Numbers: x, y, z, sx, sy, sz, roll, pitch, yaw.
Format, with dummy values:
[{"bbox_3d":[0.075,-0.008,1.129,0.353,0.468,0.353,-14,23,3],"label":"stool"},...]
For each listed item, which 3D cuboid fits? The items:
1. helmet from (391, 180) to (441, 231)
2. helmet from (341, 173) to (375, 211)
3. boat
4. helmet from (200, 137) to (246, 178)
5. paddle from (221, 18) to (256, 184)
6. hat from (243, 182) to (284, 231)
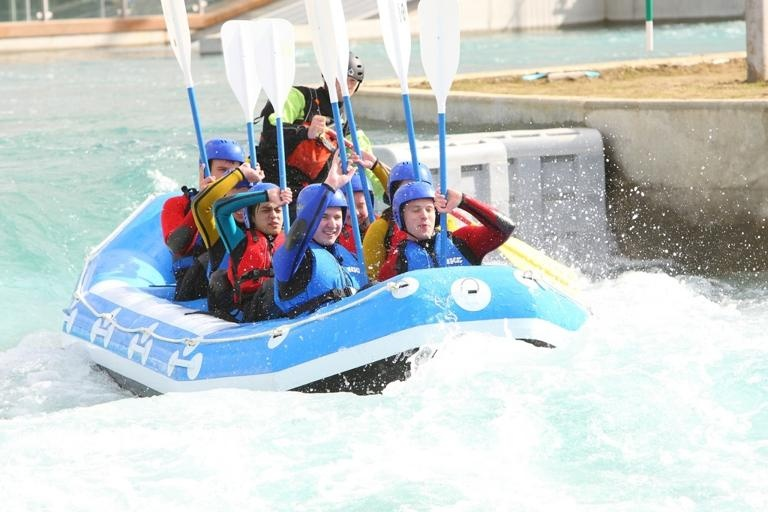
[{"bbox_3d":[0.227,-0.383,5.992,0.260,0.289,0.321,-9,34,-9],"label":"helmet"},{"bbox_3d":[-0.190,-0.513,6.752,0.217,0.260,0.288,0,-35,-9],"label":"helmet"},{"bbox_3d":[-0.793,0.392,5.947,2.616,0.785,1.628,3,2,32],"label":"boat"},{"bbox_3d":[-1.311,-0.811,7.014,0.241,0.295,0.321,2,-25,-34],"label":"helmet"},{"bbox_3d":[-1.146,-1.206,6.950,0.273,1.334,0.100,-6,11,5],"label":"paddle"},{"bbox_3d":[-0.857,-0.385,6.079,0.246,0.295,0.319,0,-20,-7],"label":"hat"}]
